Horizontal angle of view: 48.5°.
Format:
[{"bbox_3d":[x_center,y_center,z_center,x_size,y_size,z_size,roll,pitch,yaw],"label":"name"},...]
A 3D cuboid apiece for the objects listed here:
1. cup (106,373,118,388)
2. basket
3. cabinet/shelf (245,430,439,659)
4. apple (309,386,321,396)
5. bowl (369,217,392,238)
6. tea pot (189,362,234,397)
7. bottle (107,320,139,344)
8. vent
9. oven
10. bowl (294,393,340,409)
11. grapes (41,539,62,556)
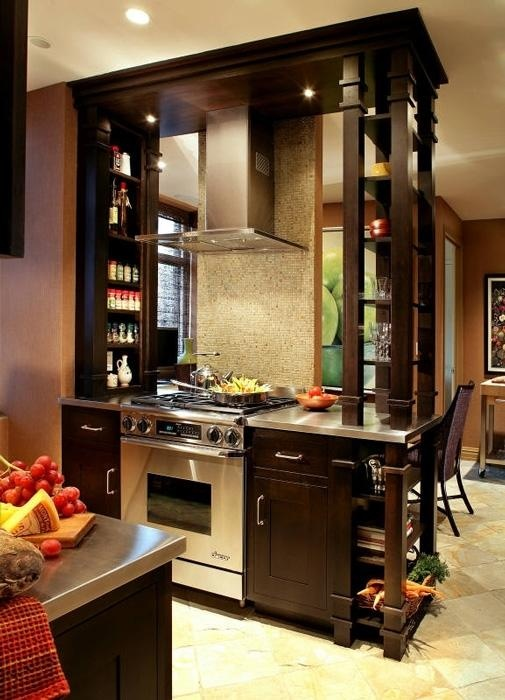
[{"bbox_3d":[-0.828,0.173,3.317,0.054,0.075,0.073,0,-5,-5],"label":"cup"},{"bbox_3d":[0.609,1.004,2.353,0.241,0.100,0.340,-4,-8,35],"label":"basket"},{"bbox_3d":[0.315,0.672,2.636,0.895,1.113,0.763,-1,-2,28],"label":"cabinet/shelf"},{"bbox_3d":[0.307,0.196,2.752,0.041,0.044,0.040,-14,7,-24],"label":"apple"},{"bbox_3d":[0.560,-0.534,2.444,0.085,0.060,0.085,-1,6,0],"label":"bowl"},{"bbox_3d":[-0.226,0.158,2.999,0.198,0.145,0.147,1,1,13],"label":"tea pot"},{"bbox_3d":[-0.809,-0.109,3.464,0.059,0.135,0.149,6,5,44],"label":"bottle"},{"bbox_3d":[-0.169,-0.917,3.027,0.730,0.653,0.657,1,0,29],"label":"vent"},{"bbox_3d":[-0.432,0.792,2.630,0.656,0.621,0.470,19,-38,-32],"label":"oven"},{"bbox_3d":[0.307,0.254,2.759,0.190,0.067,0.229,1,0,5],"label":"bowl"},{"bbox_3d":[-0.355,0.346,0.980,0.033,0.032,0.026,1,0,-26],"label":"grapes"}]
